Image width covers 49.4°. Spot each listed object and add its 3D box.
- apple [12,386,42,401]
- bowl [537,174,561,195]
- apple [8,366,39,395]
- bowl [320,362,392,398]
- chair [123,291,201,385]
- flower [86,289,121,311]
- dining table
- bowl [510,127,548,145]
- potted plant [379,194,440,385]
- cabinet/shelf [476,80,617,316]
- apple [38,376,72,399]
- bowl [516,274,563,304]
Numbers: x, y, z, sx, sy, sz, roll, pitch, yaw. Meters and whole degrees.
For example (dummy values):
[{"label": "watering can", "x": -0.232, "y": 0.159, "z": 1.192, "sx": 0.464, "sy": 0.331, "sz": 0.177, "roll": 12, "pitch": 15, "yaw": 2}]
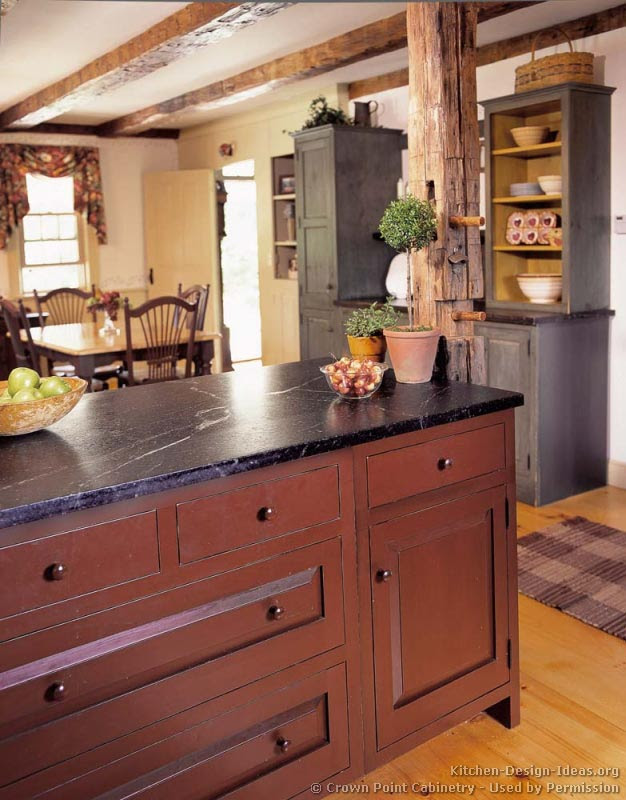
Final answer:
[{"label": "apple", "x": -0.627, "y": -0.009, "z": 1.499, "sx": 0.056, "sy": 0.038, "sz": 0.047, "roll": -4, "pitch": -2, "yaw": 18}, {"label": "bowl", "x": 1.236, "y": -1.117, "z": 3.571, "sx": 0.123, "sy": 0.079, "sz": 0.118, "roll": 0, "pitch": 12, "yaw": 0}, {"label": "apple", "x": -0.653, "y": -0.046, "z": 1.539, "sx": 0.066, "sy": 0.064, "sz": 0.063, "roll": -4, "pitch": -8, "yaw": 7}, {"label": "bowl", "x": 0.107, "y": -0.053, "z": 1.839, "sx": 0.128, "sy": 0.056, "sz": 0.121, "roll": 0, "pitch": 6, "yaw": 0}, {"label": "chair", "x": -0.941, "y": -0.357, "z": 4.242, "sx": 0.473, "sy": 0.568, "sz": 0.897, "roll": -6, "pitch": 11, "yaw": -15}, {"label": "flower", "x": -1.500, "y": -0.695, "z": 4.850, "sx": 0.201, "sy": 0.136, "sz": 0.382, "roll": -7, "pitch": 11, "yaw": -19}, {"label": "dining table", "x": -1.251, "y": -0.345, "z": 4.319, "sx": 0.690, "sy": 0.449, "sz": 0.830, "roll": -5, "pitch": 9, "yaw": -33}, {"label": "bowl", "x": 1.165, "y": -1.424, "z": 3.723, "sx": 0.141, "sy": 0.062, "sz": 0.134, "roll": -1, "pitch": 10, "yaw": 0}, {"label": "potted plant", "x": 0.303, "y": -0.346, "z": 2.112, "sx": 0.167, "sy": 0.556, "sz": 0.425, "roll": -1, "pitch": 12, "yaw": 10}, {"label": "cabinet/shelf", "x": 1.251, "y": -1.051, "z": 3.702, "sx": 0.434, "sy": 1.137, "sz": 0.592, "roll": -12, "pitch": 15, "yaw": -37}, {"label": "apple", "x": -0.575, "y": -0.037, "z": 1.528, "sx": 0.057, "sy": 0.054, "sz": 0.053, "roll": 4, "pitch": 23, "yaw": 1}, {"label": "bowl", "x": 1.231, "y": -0.606, "z": 3.673, "sx": 0.199, "sy": 0.112, "sz": 0.196, "roll": 0, "pitch": 2, "yaw": 0}]
